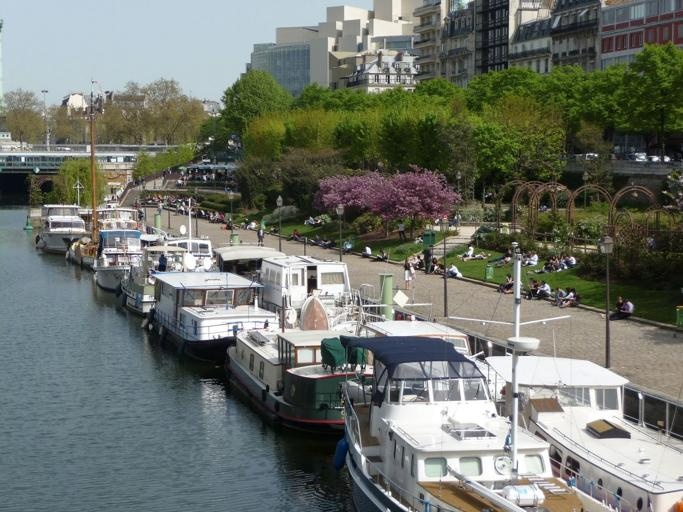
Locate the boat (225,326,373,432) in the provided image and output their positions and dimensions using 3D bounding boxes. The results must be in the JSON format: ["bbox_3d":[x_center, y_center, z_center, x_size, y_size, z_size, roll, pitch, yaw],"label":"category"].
[{"bbox_3d":[-3.007,6.365,60.330,3.673,2.648,8.159,0,3,-16],"label":"boat"}]
